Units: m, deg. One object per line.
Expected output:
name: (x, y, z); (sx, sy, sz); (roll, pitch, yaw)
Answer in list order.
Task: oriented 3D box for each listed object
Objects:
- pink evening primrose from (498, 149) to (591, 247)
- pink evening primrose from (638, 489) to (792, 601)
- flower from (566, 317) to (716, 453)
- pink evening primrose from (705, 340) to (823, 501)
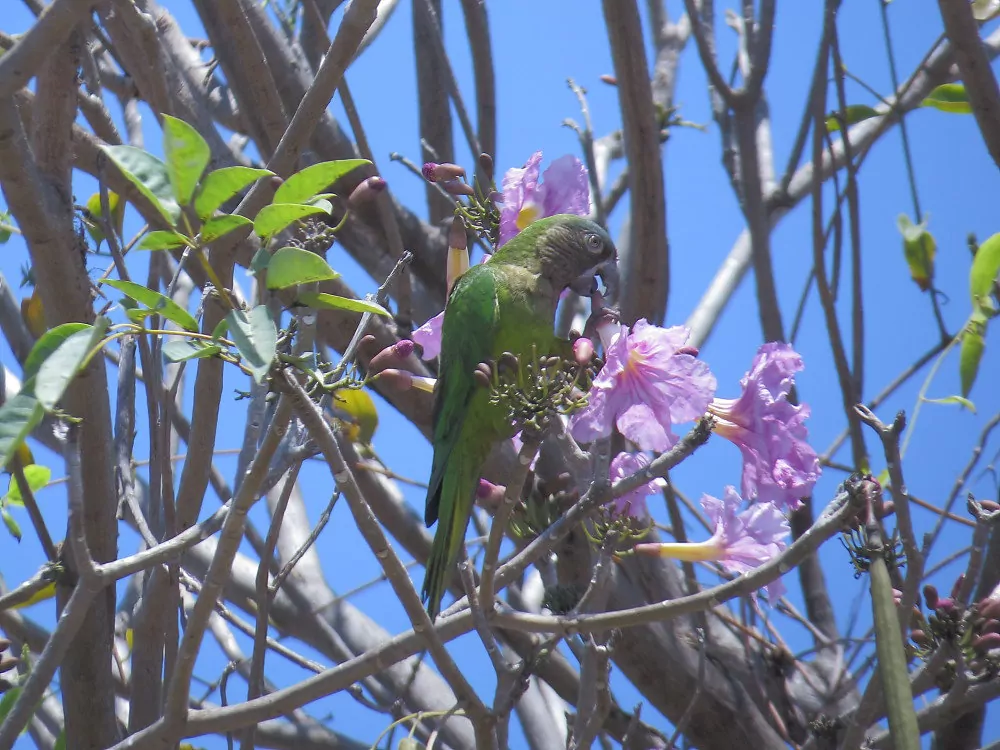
pink evening primrose: (0.092, -0.415, 4.733); (0.248, 0.265, 0.132); (21, -86, 3)
pink evening primrose: (0.477, 0.418, 4.686); (0.410, 0.262, 0.271); (1, -83, -16)
flower: (0.301, 0.027, 4.351); (0.282, 0.217, 0.347); (-23, -65, -23)
pink evening primrose: (0.569, 0.116, 4.175); (0.154, 0.204, 0.339); (3, -85, 29)
